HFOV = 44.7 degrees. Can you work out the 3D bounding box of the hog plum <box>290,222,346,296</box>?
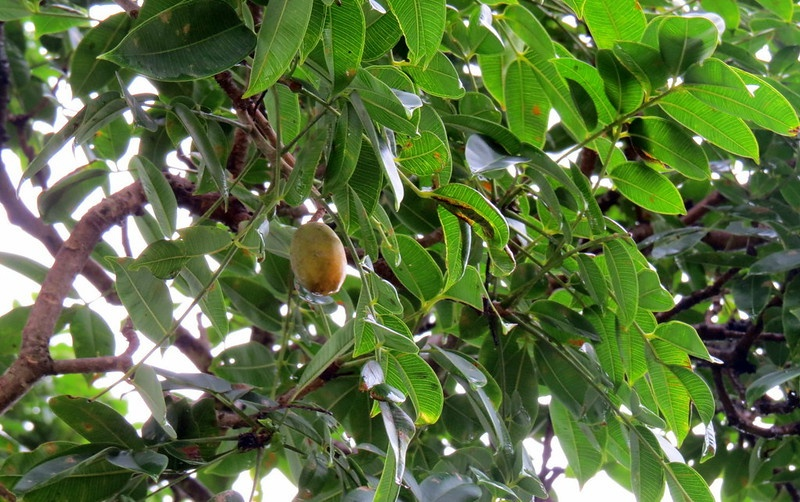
[{"bbox_3d":[-0.256,-0.006,2.947,0.211,0.158,0.139,25,-71,-26],"label":"hog plum"}]
